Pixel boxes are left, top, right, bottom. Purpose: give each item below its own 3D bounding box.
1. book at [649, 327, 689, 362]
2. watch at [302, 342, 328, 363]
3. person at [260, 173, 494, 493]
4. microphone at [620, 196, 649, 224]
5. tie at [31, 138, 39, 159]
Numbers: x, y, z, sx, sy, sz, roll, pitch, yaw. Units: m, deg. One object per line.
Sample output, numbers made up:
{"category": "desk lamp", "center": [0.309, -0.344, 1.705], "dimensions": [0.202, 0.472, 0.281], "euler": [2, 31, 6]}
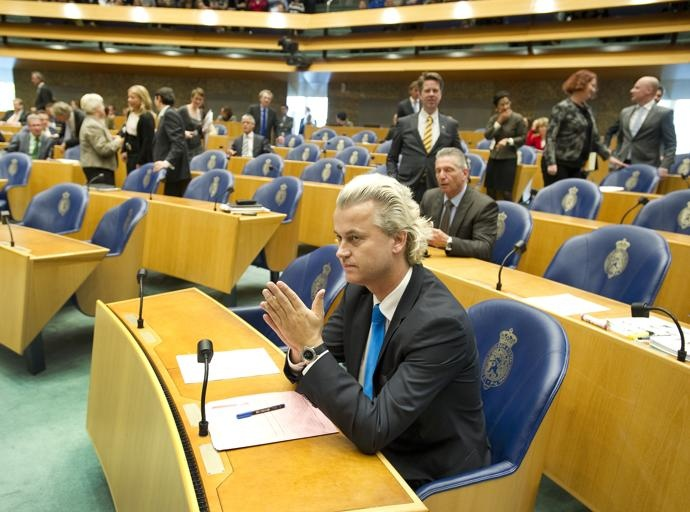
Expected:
{"category": "book", "center": [1.393, 0.358, 2.152], "dimensions": [0.158, 0.047, 0.315], "euler": [15, 16, 39]}
{"category": "watch", "center": [-0.108, 0.322, 1.737], "dimensions": [0.067, 0.052, 0.078], "euler": [-14, -17, -29]}
{"category": "person", "center": [0.081, 0.270, 2.535], "dimensions": [0.970, 1.877, 0.906], "euler": [1, 0, -22]}
{"category": "microphone", "center": [2.577, -0.413, 4.520], "dimensions": [0.203, 0.313, 0.081], "euler": [36, 5, -46]}
{"category": "tie", "center": [-4.556, -1.562, 7.460], "dimensions": [0.133, 0.271, 0.078], "euler": [3, -4, -7]}
